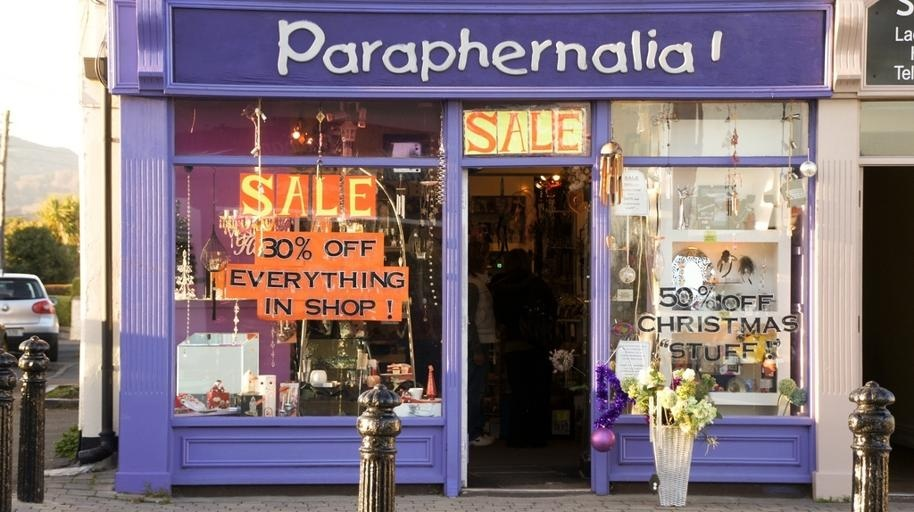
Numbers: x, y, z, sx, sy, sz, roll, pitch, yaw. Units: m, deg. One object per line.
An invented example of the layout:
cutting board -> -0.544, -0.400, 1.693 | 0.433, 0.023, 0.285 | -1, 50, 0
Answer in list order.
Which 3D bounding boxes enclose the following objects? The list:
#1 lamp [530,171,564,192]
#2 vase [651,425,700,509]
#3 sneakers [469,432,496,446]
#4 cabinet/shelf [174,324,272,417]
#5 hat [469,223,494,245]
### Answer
lamp -> 1.531, -1.224, 24.344 | 0.354, 0.138, 0.347 | 20, -23, -37
vase -> 3.096, 3.032, 21.141 | 0.610, 1.208, 0.307 | 0, -3, 8
sneakers -> 0.411, 2.940, 23.292 | 0.428, 0.165, 0.143 | 4, -2, -30
cabinet/shelf -> -3.527, 1.860, 22.175 | 2.009, 1.406, 1.089 | 1, -2, -5
hat -> 0.400, -0.385, 24.488 | 0.428, 0.392, 0.252 | 0, -1, -1
